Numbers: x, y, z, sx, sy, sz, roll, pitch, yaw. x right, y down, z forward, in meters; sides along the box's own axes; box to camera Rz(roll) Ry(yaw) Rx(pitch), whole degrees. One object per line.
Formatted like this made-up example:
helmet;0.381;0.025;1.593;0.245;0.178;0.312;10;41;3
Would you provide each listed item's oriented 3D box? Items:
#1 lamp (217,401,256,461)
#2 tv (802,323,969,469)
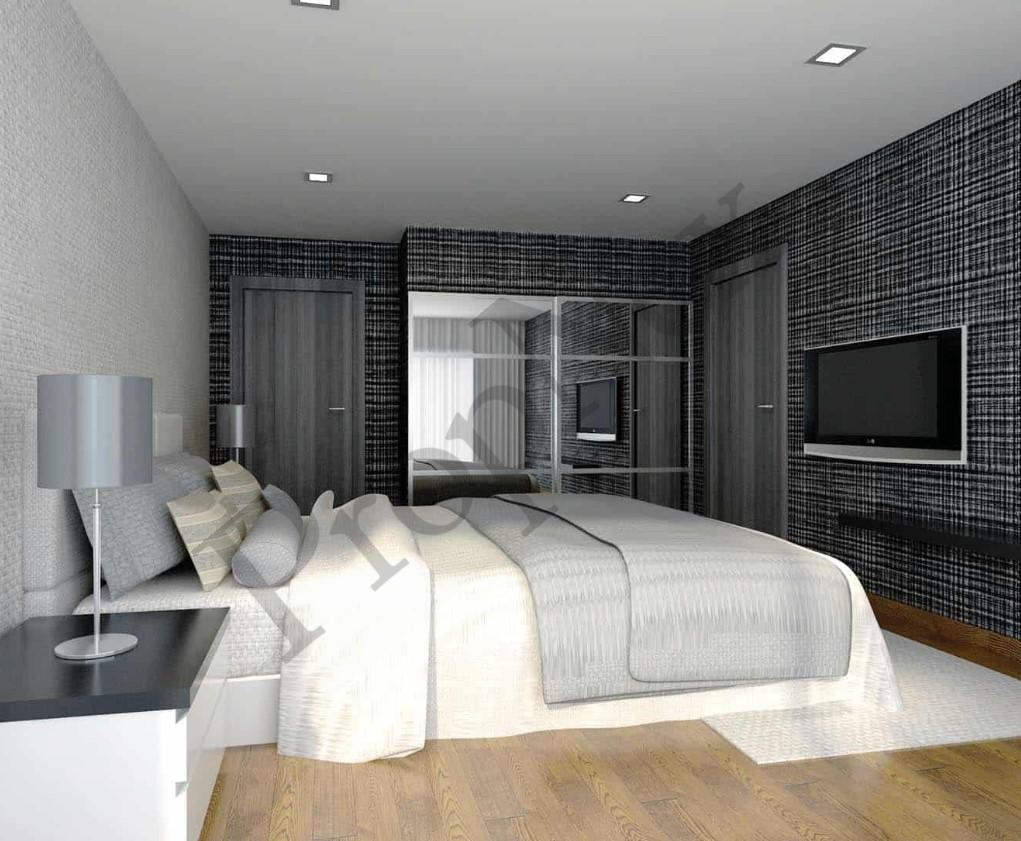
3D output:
lamp;-2.077;0.105;5.187;0.208;0.359;0.229;4;4;26
tv;2.222;-0.145;3.904;0.098;0.665;0.947;1;-3;-18
